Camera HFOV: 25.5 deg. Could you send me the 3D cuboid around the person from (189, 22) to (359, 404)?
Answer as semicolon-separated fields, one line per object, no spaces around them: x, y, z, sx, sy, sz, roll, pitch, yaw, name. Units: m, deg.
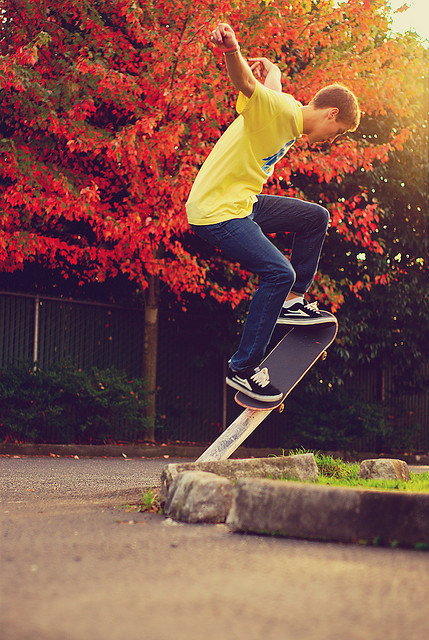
0.309;-0.569;5.591;0.860;2.129;1.235;5;11;15;person
